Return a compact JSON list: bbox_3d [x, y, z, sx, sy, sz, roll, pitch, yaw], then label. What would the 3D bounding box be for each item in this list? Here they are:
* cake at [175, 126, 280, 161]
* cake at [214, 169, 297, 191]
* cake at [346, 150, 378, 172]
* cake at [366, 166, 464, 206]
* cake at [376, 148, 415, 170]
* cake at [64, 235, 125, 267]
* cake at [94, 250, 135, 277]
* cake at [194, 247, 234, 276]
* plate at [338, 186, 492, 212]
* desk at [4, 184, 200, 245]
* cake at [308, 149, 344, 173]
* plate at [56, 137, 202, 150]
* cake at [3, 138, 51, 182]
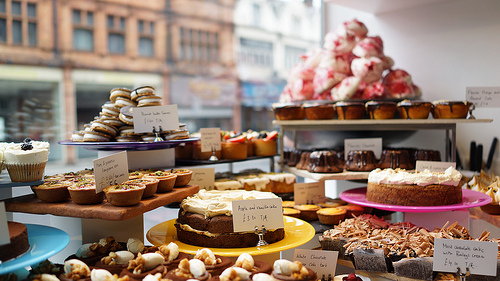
[{"bbox_3d":[-0.137,0.005,3.633,0.823,0.271,0.377,-5,9,-31],"label":"cake"},{"bbox_3d":[0.040,0.308,3.745,0.840,0.138,0.616,0,10,-4],"label":"cake"},{"bbox_3d":[0.976,0.176,3.483,0.219,0.118,0.205,0,-3,-9],"label":"cake"},{"bbox_3d":[1.279,0.356,3.110,0.693,0.281,0.141,0,4,10],"label":"cake"},{"bbox_3d":[1.284,0.156,3.545,0.211,0.217,0.223,-7,1,-25],"label":"cake"},{"bbox_3d":[-1.007,0.705,2.628,0.177,0.091,0.309,-1,0,38],"label":"cake"},{"bbox_3d":[-0.843,0.757,2.579,0.298,0.109,0.312,-2,5,-12],"label":"cake"},{"bbox_3d":[-0.235,0.775,2.553,0.189,0.116,0.193,-3,-5,41],"label":"cake"},{"bbox_3d":[1.414,0.411,3.355,0.937,0.203,0.341,-2,1,15],"label":"plate"},{"bbox_3d":[-1.008,0.480,2.780,0.779,0.237,0.851,0,3,16],"label":"desk"},{"bbox_3d":[0.655,0.185,3.482,0.305,0.189,0.127,0,4,6],"label":"cake"},{"bbox_3d":[-0.922,0.037,3.091,1.061,0.088,0.252,-1,3,-10],"label":"plate"},{"bbox_3d":[-1.499,0.128,2.682,0.273,0.283,0.224,-2,4,-23],"label":"cake"}]
